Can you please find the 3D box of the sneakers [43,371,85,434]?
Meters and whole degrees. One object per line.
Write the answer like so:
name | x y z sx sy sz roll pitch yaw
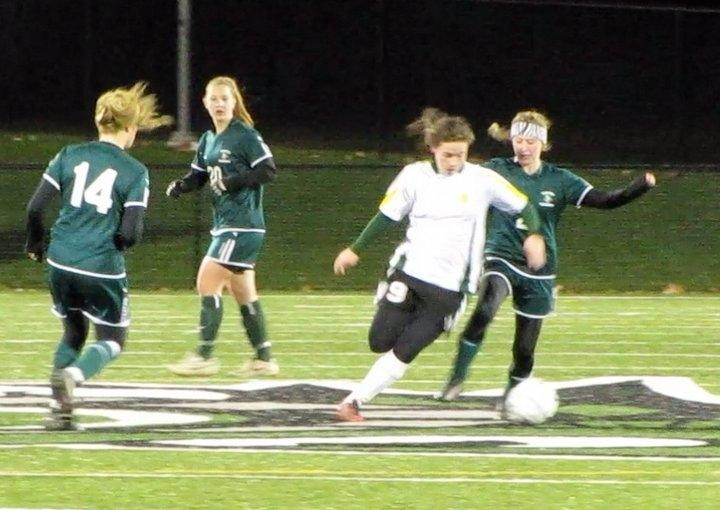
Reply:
sneakers | -2.201 1.098 9.261 0.260 0.525 0.229 2 46 -7

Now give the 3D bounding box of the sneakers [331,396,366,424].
sneakers | -0.104 1.158 9.406 0.205 0.069 0.233 2 17 -34

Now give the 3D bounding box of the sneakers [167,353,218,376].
sneakers | -1.431 0.930 10.777 0.341 0.099 0.247 0 0 8

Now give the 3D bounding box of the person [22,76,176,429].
person | -2.015 -0.008 9.339 0.958 2.489 0.856 1 12 -9

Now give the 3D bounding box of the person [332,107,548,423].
person | 0.556 0.093 9.419 1.462 2.267 0.471 -2 13 -24

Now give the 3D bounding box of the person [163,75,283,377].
person | -1.172 -0.242 10.965 0.979 2.584 0.829 0 12 -13
